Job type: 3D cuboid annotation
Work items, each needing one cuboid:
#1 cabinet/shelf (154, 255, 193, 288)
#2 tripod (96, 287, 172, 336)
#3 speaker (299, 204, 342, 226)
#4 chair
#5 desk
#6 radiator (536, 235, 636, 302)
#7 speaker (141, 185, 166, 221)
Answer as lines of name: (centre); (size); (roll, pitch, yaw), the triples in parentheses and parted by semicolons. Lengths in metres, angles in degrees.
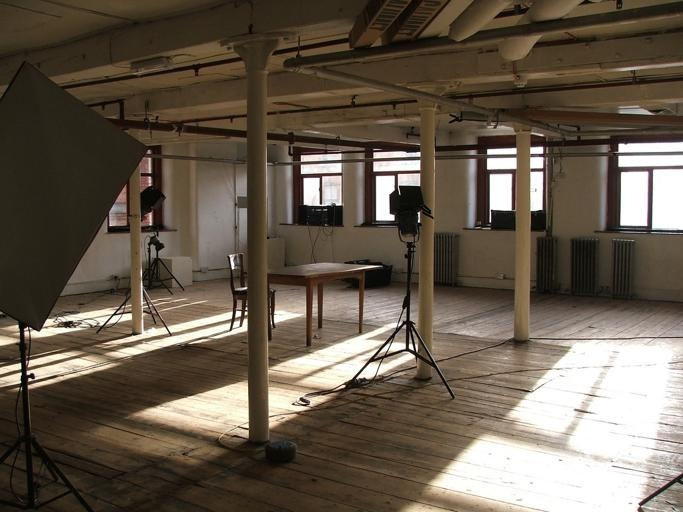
cabinet/shelf: (-3.965, 0.313, 13.870); (0.690, 0.719, 0.685); (7, 5, 13)
tripod: (-3.554, 0.983, 10.177); (0.975, 0.657, 0.995); (-1, -3, 3)
speaker: (-0.579, -1.099, 15.564); (1.273, 0.564, 0.228); (2, 6, 28)
chair: (-1.488, 0.600, 9.642); (0.767, 1.253, 0.696); (1, 4, 9)
desk: (-0.432, 0.346, 8.807); (1.076, 1.011, 2.022); (7, 10, 33)
radiator: (5.088, 0.190, 12.367); (1.928, 1.275, 0.222); (3, 7, 34)
speaker: (-3.425, -0.981, 10.570); (0.348, 0.556, 0.851); (-2, 6, -12)
